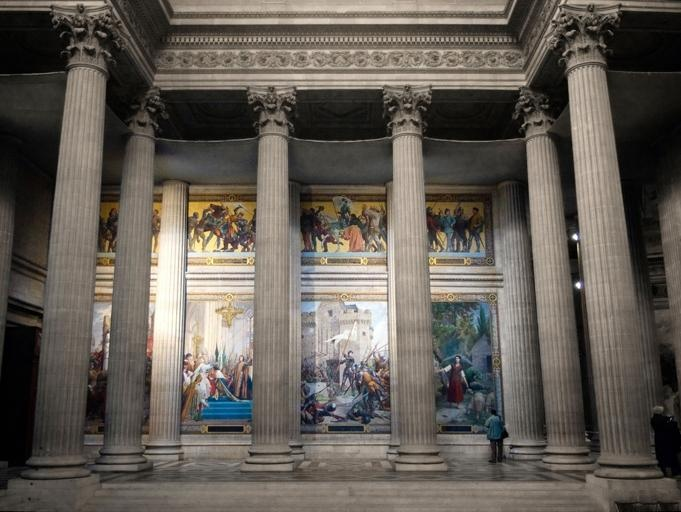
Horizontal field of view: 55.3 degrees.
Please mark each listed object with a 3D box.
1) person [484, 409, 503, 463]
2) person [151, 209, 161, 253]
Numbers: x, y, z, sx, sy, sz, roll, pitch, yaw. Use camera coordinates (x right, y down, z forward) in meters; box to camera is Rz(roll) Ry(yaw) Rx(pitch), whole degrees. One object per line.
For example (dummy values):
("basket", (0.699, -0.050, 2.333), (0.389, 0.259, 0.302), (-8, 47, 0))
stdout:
("person", (3.982, 4.594, 16.809), (0.471, 1.337, 0.784), (-2, -7, 14))
("person", (-5.539, -0.786, 19.642), (0.270, 1.327, 0.165), (-1, -7, 7))
